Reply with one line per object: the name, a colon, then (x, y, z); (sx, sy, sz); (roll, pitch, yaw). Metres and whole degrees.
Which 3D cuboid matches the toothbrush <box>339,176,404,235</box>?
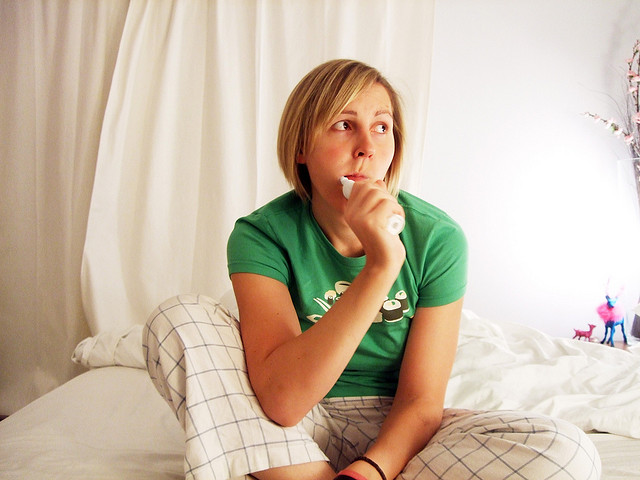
toothbrush: (0.139, -0.113, 1.618); (0.082, 0.107, 0.310); (-1, 36, -20)
